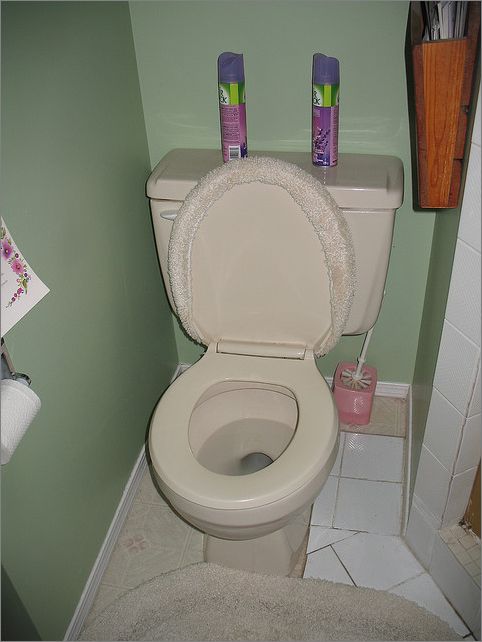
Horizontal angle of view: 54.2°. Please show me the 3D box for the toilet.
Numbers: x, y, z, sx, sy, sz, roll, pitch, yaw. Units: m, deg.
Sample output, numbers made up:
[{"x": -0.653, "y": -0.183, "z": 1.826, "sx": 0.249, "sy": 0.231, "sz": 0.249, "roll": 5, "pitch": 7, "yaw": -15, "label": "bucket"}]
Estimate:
[{"x": 0.042, "y": 0.117, "z": 1.021, "sx": 0.530, "sy": 0.876, "sz": 0.660, "roll": 6, "pitch": 31, "yaw": 17, "label": "toilet"}]
